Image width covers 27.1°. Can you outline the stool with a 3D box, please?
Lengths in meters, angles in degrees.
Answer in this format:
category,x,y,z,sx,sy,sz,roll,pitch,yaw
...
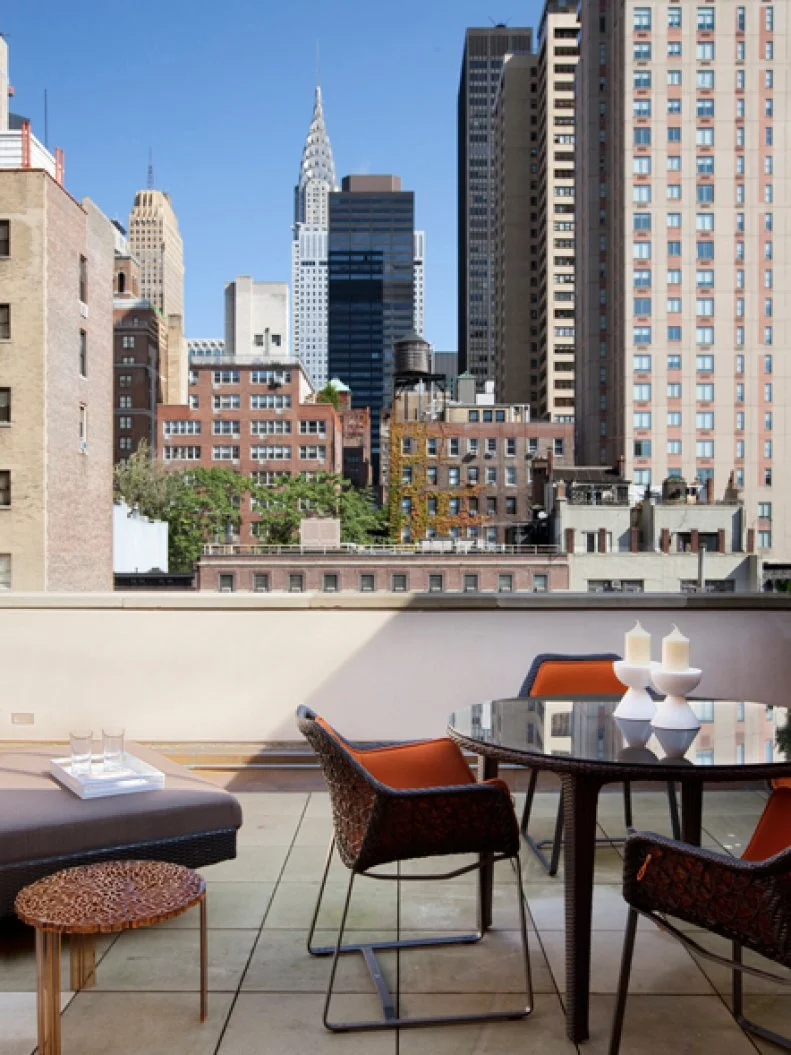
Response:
category,x,y,z,sx,sy,sz,roll,pitch,yaw
stool,-0.915,1.316,5.459,0.515,0.442,0.579,-4,11,-23

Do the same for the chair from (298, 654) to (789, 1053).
category,x,y,z,sx,sy,sz,roll,pitch,yaw
chair,0.243,1.109,5.935,1.125,0.781,1.252,-1,4,-8
